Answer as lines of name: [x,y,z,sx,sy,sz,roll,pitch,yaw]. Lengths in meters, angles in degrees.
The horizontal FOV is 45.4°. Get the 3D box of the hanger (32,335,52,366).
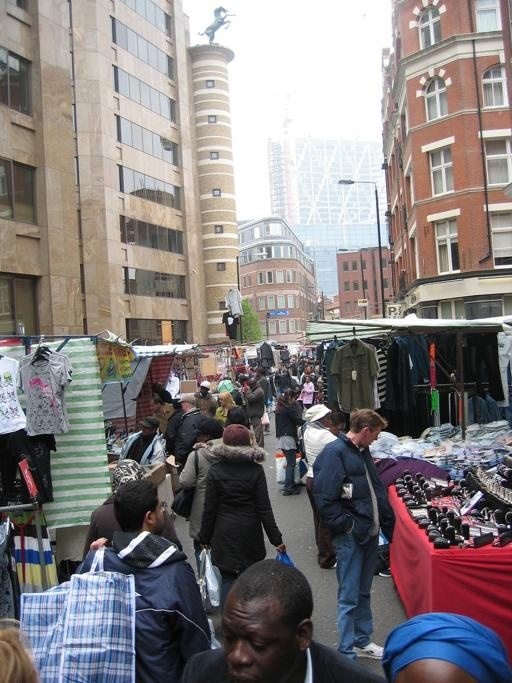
hanger: [-2.031,0.100,5.767,0.081,0.223,0.269,0,5,16]

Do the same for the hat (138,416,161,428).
hat: [-1.329,1.025,7.667,0.205,0.103,0.149,30,-23,-36]

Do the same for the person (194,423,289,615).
person: [-0.120,1.553,5.153,0.736,1.701,0.527,2,7,0]

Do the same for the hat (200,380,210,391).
hat: [-1.123,0.967,13.235,0.210,0.149,0.288,3,-20,8]

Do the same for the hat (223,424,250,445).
hat: [-0.151,0.765,5.029,0.146,0.113,0.197,-11,19,2]
